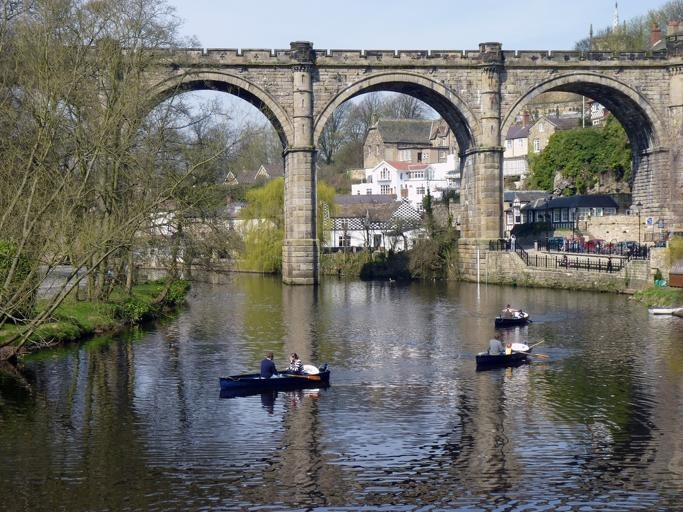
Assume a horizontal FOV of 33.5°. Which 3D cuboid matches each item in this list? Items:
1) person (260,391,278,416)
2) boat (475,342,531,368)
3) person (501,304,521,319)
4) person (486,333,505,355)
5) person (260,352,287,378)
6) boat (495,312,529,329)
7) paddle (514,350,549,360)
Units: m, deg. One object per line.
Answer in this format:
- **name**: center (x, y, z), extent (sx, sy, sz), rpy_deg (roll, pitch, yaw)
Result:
- **person**: center (-2.433, 4.937, 38.535), extent (0.444, 0.869, 0.459), rpy_deg (-1, 1, -15)
- **boat**: center (6.098, 3.810, 42.952), extent (2.649, 0.947, 0.819), rpy_deg (4, -5, -43)
- **person**: center (7.742, 2.613, 51.072), extent (0.648, 0.419, 0.971), rpy_deg (4, 8, 14)
- **person**: center (6.025, 3.475, 44.249), extent (0.563, 0.967, 0.607), rpy_deg (7, 14, 32)
- **person**: center (-2.497, 3.837, 39.788), extent (0.685, 0.876, 1.332), rpy_deg (0, -4, 12)
- **boat**: center (7.653, 2.876, 50.794), extent (1.873, 0.743, 0.623), rpy_deg (4, -5, -38)
- **paddle**: center (7.424, 3.891, 43.969), extent (1.699, 0.575, 0.130), rpy_deg (5, -32, -38)
